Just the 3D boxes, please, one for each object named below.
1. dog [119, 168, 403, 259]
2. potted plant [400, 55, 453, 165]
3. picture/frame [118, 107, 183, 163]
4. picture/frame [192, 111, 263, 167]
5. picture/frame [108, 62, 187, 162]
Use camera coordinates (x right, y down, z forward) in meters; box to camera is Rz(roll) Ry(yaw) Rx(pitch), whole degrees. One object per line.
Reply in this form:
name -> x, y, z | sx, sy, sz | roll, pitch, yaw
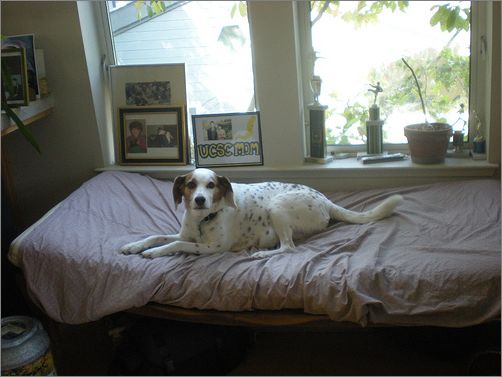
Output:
dog -> 0.073, 0.185, 2.955 | 1.705, 0.686, 0.729 | -9, 7, -3
potted plant -> 1.346, -0.605, 3.286 | 0.348, 0.821, 0.326 | -3, 11, 7
picture/frame -> -0.843, -0.479, 3.697 | 0.438, 0.416, 0.034 | 0, 7, 5
picture/frame -> -0.177, -0.406, 3.552 | 0.424, 0.360, 0.017 | -1, 2, 6
picture/frame -> -0.866, -0.673, 3.695 | 0.757, 1.052, 0.077 | -2, 10, 3
